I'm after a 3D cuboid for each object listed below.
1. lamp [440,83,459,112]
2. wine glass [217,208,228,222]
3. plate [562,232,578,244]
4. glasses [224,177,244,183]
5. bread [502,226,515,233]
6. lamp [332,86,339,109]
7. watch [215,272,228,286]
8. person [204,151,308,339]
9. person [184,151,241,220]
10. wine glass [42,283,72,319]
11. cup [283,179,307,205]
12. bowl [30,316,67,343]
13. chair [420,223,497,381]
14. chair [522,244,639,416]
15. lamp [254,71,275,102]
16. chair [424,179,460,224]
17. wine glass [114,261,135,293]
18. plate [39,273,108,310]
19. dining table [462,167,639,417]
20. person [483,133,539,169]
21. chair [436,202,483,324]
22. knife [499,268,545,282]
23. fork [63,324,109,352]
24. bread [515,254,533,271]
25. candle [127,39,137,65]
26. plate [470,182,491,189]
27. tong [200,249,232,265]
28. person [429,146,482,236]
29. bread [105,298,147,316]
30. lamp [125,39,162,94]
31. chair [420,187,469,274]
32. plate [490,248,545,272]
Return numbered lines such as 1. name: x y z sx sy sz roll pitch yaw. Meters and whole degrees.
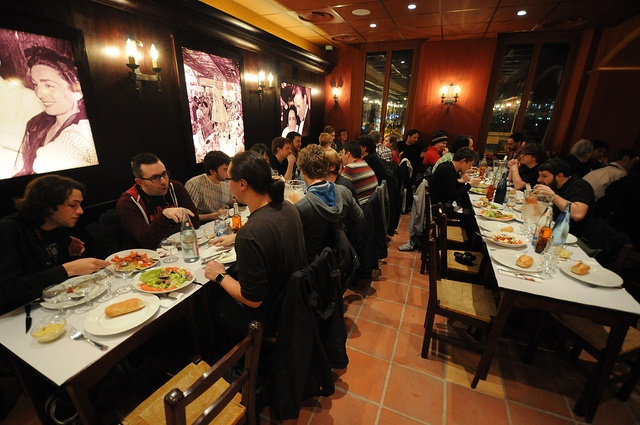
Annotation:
1. lamp: 2.759 -2.472 8.121 0.473 0.736 0.214 7 21 21
2. wine glass: -1.123 0.034 4.394 0.135 0.080 0.081 -15 -4 36
3. plate: 2.796 0.287 4.258 0.136 0.028 0.141 6 43 21
4. glasses: -0.805 -0.308 3.580 0.153 0.046 0.155 3 19 -2
5. bread: 2.171 0.196 4.424 0.083 0.032 0.088 3 17 30
6. lamp: 0.363 -2.756 9.163 0.162 0.521 0.118 4 19 8
7. watch: -0.927 0.643 3.665 0.076 0.108 0.120 29 73 8
8. person: -0.606 0.370 3.604 0.847 1.816 0.557 7 20 17
9. person: -1.310 -0.296 4.616 0.504 0.817 0.575 20 32 19
10. wine glass: -2.357 0.804 3.398 0.186 0.311 0.182 -8 22 -22
11. cup: -0.336 -0.291 4.986 0.355 0.276 0.284 9 20 21
12. bowl: -2.304 1.007 3.279 0.221 0.228 0.099 -6 31 -26
13. chair: 1.558 1.062 4.270 0.932 1.681 0.942 2 28 14
14. chair: 2.632 1.203 3.847 0.871 1.556 0.882 -13 33 -13
15. lamp: -1.027 -2.285 6.869 0.188 0.579 0.579 3 10 14
16. chair: 1.697 -0.179 5.367 0.329 0.590 0.270 -13 47 7
17. wine glass: -1.864 0.630 3.626 0.158 0.265 0.163 15 24 30
18. plate: -2.181 0.741 3.559 0.344 0.070 0.357 -7 22 -2
19. dining table: 2.358 0.805 3.984 1.306 1.479 1.969 1 28 2
20. person: 3.681 -1.225 7.429 0.748 0.810 0.492 8 33 25
21. chair: 1.666 0.640 4.561 0.740 1.429 0.781 0 36 14
22. knife: 2.017 0.628 3.796 0.232 0.028 0.058 13 39 16
23. fork: -1.996 1.080 3.251 0.289 0.042 0.051 32 64 3
24. bread: 2.067 0.504 3.856 0.135 0.087 0.130 4 33 9
25. candle: -2.350 -2.017 4.766 0.132 0.299 0.197 -8 21 -24
26. plate: 2.663 -0.443 6.234 0.183 0.044 0.181 -16 18 -34
27. tong: -1.033 0.457 3.876 0.144 0.060 0.228 26 52 20
28. person: 1.995 -0.279 5.612 0.817 1.469 0.668 -9 41 6
29. bread: -1.730 0.840 3.389 0.238 0.065 0.145 -15 39 -23
30. lamp: -2.266 -1.888 4.924 0.446 0.673 0.262 -14 24 -36
31. chair: 1.609 0.239 5.010 0.614 1.151 0.631 -1 41 12
32. plate: 2.020 0.498 3.930 0.279 0.031 0.285 11 27 24
